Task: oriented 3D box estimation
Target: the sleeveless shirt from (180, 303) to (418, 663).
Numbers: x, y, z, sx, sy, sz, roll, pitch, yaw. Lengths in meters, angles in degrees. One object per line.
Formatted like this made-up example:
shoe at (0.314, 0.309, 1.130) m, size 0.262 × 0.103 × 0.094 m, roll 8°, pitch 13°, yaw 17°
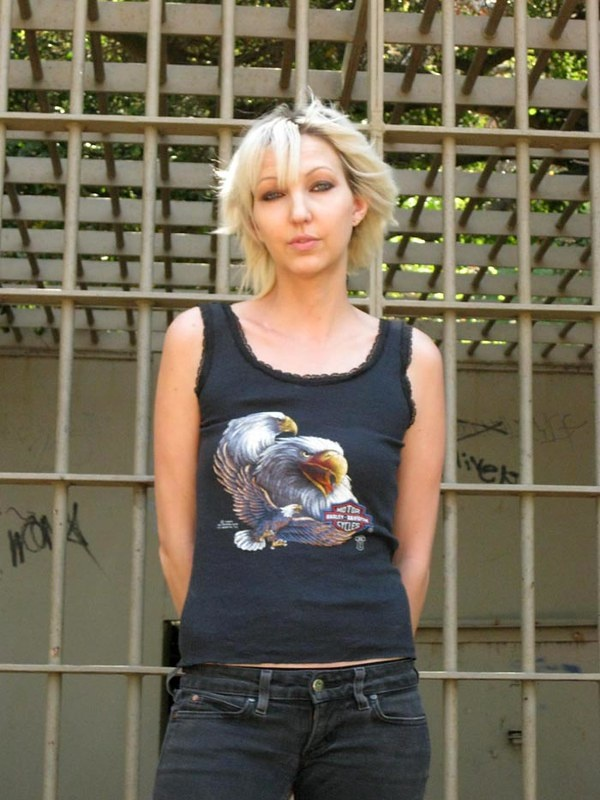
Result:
sleeveless shirt at (0.011, 0.212, 2.863) m, size 0.531 × 0.664 × 0.629 m, roll 4°, pitch 26°, yaw -6°
